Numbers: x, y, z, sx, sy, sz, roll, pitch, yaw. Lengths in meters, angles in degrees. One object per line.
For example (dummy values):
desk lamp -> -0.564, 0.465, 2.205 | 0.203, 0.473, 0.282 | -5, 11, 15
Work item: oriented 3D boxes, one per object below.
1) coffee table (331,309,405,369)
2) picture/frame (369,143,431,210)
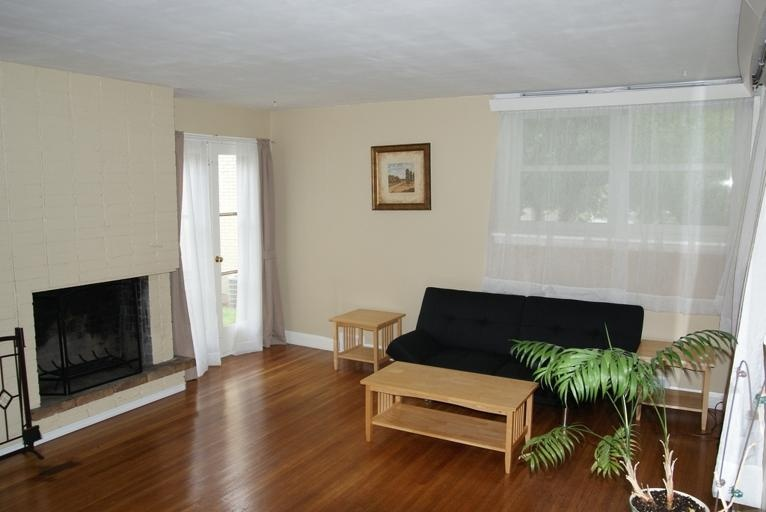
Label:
coffee table -> -0.203, 0.984, 6.313 | 0.780, 0.704, 0.739 | 5, 12, 31
picture/frame -> 0.234, -0.964, 6.152 | 0.818, 0.810, 0.055 | 3, 9, 29
